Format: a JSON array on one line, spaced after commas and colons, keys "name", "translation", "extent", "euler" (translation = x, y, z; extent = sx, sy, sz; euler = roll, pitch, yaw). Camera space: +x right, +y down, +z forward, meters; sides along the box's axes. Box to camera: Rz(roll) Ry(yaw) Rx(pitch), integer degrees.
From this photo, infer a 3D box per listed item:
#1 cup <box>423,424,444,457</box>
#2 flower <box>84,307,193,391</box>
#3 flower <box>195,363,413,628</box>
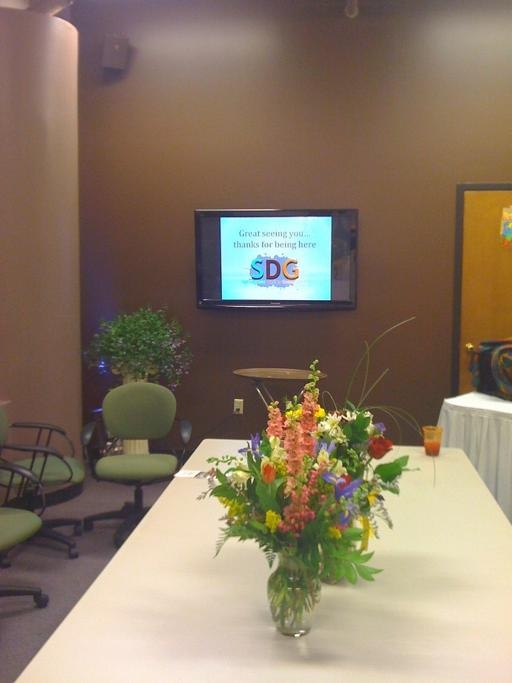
[{"name": "cup", "translation": [0.659, 0.369, 2.181], "extent": [0.059, 0.112, 0.111], "euler": [-2, 4, 14]}, {"name": "flower", "translation": [-0.819, 0.079, 4.079], "extent": [0.653, 0.618, 0.653], "euler": [-2, 4, 7]}, {"name": "flower", "translation": [0.033, 0.266, 1.271], "extent": [0.493, 0.462, 0.463], "euler": [3, 2, 24]}]
